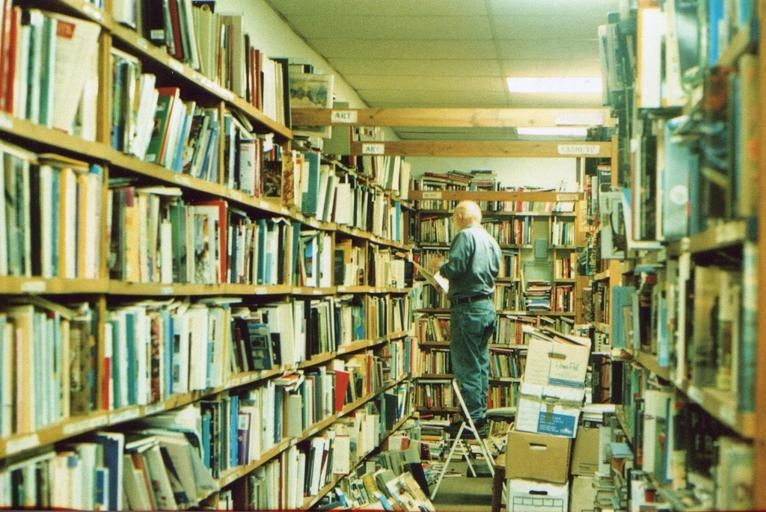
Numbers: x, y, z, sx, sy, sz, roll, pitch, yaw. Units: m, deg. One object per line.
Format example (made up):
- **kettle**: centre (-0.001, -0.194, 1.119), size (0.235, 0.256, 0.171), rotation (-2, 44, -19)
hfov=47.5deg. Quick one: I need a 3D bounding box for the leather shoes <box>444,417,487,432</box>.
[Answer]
- **leather shoes**: centre (0.622, 1.252, 6.437), size (0.233, 0.103, 0.134), rotation (3, -5, 6)
